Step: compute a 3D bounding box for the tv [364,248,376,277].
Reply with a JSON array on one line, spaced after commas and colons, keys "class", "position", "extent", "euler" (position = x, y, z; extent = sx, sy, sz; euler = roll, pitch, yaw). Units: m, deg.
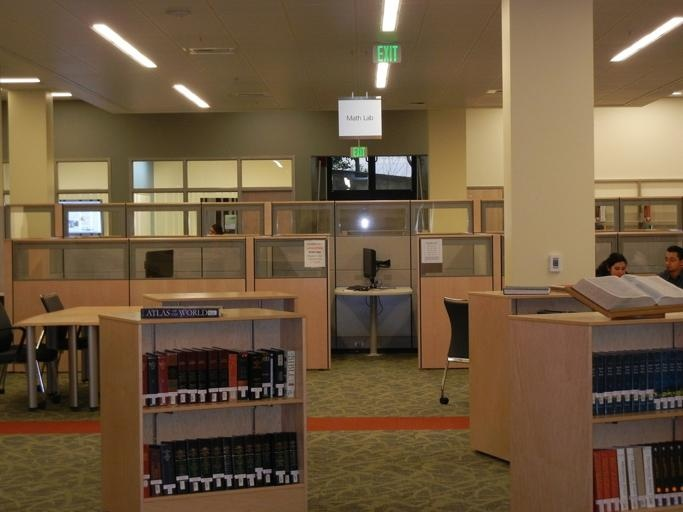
[{"class": "tv", "position": [0.426, 0.100, 9.455], "extent": [0.147, 0.445, 0.242], "euler": [-2, 6, -14]}]

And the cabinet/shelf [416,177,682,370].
[{"class": "cabinet/shelf", "position": [3.176, -0.182, 9.873], "extent": [3.936, 2.533, 4.032], "euler": [0, 4, 5]}]

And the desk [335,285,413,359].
[{"class": "desk", "position": [0.486, 0.947, 9.507], "extent": [1.160, 0.901, 1.179], "euler": [2, -8, -18]}]

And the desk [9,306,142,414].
[{"class": "desk", "position": [-2.922, 0.941, 7.290], "extent": [1.160, 1.138, 2.273], "euler": [0, 2, -5]}]
